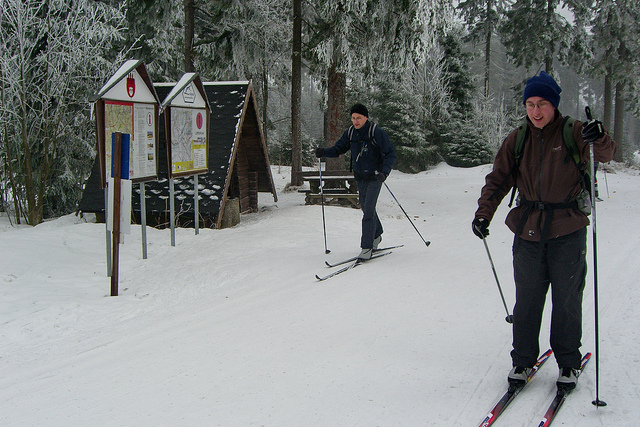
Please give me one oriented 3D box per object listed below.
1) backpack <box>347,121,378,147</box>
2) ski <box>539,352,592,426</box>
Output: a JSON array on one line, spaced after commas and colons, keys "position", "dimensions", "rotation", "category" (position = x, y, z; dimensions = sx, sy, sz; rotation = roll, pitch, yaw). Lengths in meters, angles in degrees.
[{"position": [0.813, -1.382, 10.357], "dimensions": [0.346, 0.508, 0.469], "rotation": [0, 39, 33], "category": "backpack"}, {"position": [2.856, 2.080, 6.780], "dimensions": [0.110, 0.059, 1.057], "rotation": [-6, 34, 43], "category": "ski"}]
